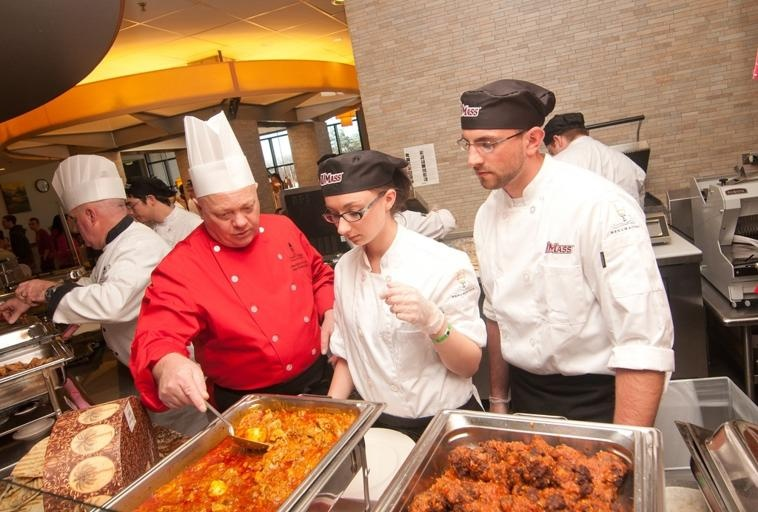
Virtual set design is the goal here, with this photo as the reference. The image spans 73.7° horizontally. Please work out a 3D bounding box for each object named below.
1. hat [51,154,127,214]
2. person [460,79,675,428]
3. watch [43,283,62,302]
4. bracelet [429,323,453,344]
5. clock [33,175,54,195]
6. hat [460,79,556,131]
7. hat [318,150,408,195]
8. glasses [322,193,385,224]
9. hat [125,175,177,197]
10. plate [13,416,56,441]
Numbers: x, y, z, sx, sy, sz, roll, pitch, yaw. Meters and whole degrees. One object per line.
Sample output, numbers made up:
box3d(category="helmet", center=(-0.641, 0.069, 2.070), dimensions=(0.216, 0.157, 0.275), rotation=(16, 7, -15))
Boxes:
box3d(category="hat", center=(-1.829, -0.491, 3.248), dimensions=(0.420, 0.296, 0.359), rotation=(-15, 17, -15))
box3d(category="person", center=(1.754, -0.329, 4.432), dimensions=(0.866, 1.893, 1.268), rotation=(17, -29, -26))
box3d(category="watch", center=(-2.059, 0.240, 3.191), dimensions=(0.097, 0.068, 0.101), rotation=(-29, 30, 60))
box3d(category="bracelet", center=(0.262, 0.332, 2.072), dimensions=(0.078, 0.024, 0.079), rotation=(-42, 17, -12))
box3d(category="clock", center=(-9.303, -1.939, 14.061), dimensions=(0.486, 0.433, 0.283), rotation=(-2, 19, 31))
box3d(category="hat", center=(0.573, -0.655, 2.201), dimensions=(0.352, 0.164, 0.257), rotation=(-8, 24, -9))
box3d(category="hat", center=(-0.054, -0.391, 2.209), dimensions=(0.218, 0.098, 0.283), rotation=(10, 22, 43))
box3d(category="glasses", center=(-0.126, -0.196, 2.204), dimensions=(0.283, 0.098, 0.142), rotation=(-4, 17, 22))
box3d(category="hat", center=(-2.216, -0.651, 4.970), dimensions=(0.375, 0.159, 0.266), rotation=(-2, 4, -35))
box3d(category="plate", center=(-1.856, 0.946, 2.732), dimensions=(0.196, 0.053, 0.133), rotation=(-23, 19, -38))
